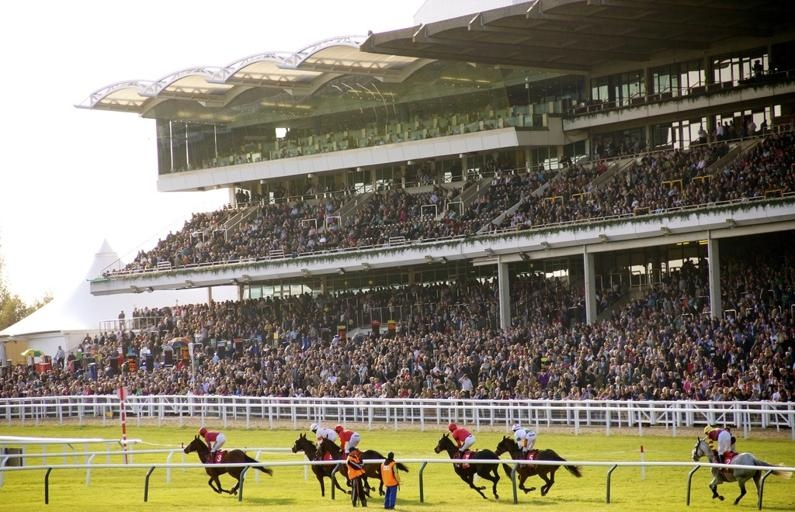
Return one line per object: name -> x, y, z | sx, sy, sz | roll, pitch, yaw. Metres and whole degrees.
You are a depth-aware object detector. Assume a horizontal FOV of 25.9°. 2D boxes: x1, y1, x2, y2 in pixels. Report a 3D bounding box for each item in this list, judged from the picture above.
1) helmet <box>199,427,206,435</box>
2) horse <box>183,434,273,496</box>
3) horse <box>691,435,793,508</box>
helmet -> -6.698, 6.084, 59.890 | 0.253, 0.303, 0.311 | 1, -8, -5
horse -> -5.970, 7.461, 60.917 | 3.147, 2.220, 0.851 | 2, -36, 7
horse -> 11.029, 7.095, 56.928 | 1.728, 2.138, 3.052 | -5, 0, -37
